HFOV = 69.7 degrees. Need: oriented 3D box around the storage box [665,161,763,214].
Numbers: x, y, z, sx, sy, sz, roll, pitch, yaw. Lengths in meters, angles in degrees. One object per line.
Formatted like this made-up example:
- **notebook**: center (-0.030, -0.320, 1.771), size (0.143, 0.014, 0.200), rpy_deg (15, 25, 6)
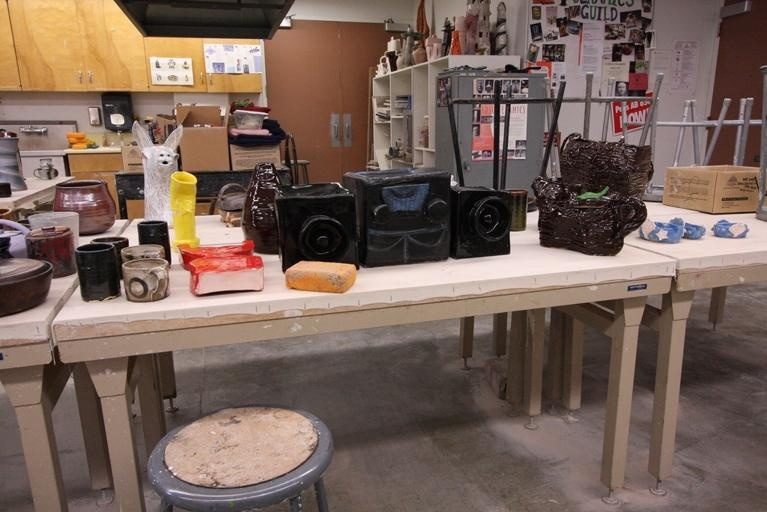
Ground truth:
- **storage box**: center (1.795, -0.403, 2.931), size (0.347, 0.204, 0.326), rpy_deg (-10, 14, -38)
